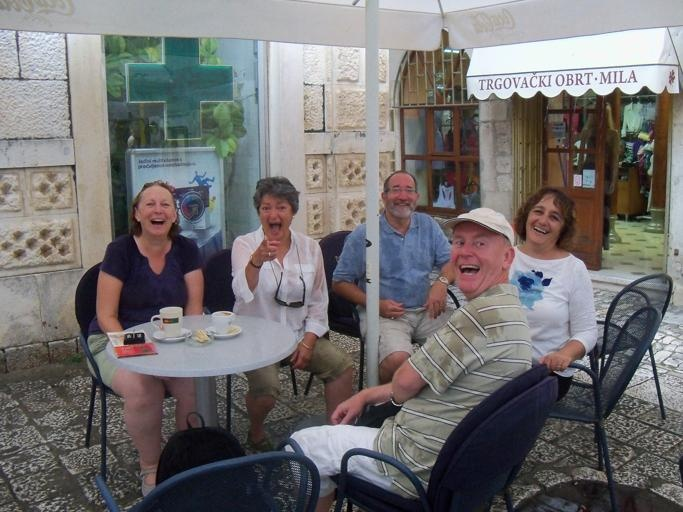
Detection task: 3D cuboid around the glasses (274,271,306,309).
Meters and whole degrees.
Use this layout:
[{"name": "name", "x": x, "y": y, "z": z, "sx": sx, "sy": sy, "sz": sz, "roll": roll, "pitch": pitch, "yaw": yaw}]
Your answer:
[{"name": "glasses", "x": -0.347, "y": 0.222, "z": 3.705, "sx": 0.193, "sy": 0.243, "sz": 0.057, "roll": 1, "pitch": -2, "yaw": -4}]

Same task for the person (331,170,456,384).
[{"name": "person", "x": 0.527, "y": 0.241, "z": 4.107, "sx": 0.942, "sy": 1.733, "sz": 0.889, "roll": -6, "pitch": 12, "yaw": -28}]

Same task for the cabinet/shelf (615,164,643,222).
[{"name": "cabinet/shelf", "x": 6.264, "y": -1.368, "z": 12.357, "sx": 0.521, "sy": 1.003, "sz": 0.598, "roll": -6, "pitch": 7, "yaw": -16}]

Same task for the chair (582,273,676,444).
[{"name": "chair", "x": 1.811, "y": 0.590, "z": 3.662, "sx": 0.566, "sy": 0.800, "sz": 0.590, "roll": -12, "pitch": 10, "yaw": -5}]

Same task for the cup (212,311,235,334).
[{"name": "cup", "x": -0.665, "y": 0.371, "z": 3.186, "sx": 0.113, "sy": 0.100, "sz": 0.095, "roll": -2, "pitch": 0, "yaw": 36}]

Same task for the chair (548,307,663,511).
[{"name": "chair", "x": 1.536, "y": 0.868, "z": 3.275, "sx": 0.494, "sy": 1.108, "sz": 0.846, "roll": 2, "pitch": 10, "yaw": 34}]

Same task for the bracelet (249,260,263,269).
[{"name": "bracelet", "x": -0.520, "y": 0.060, "z": 3.485, "sx": 0.058, "sy": 0.017, "sz": 0.059, "roll": 21, "pitch": -3, "yaw": -40}]

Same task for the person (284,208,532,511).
[{"name": "person", "x": 0.496, "y": 0.484, "z": 3.282, "sx": 1.358, "sy": 2.157, "sz": 0.862, "roll": 4, "pitch": -2, "yaw": 30}]

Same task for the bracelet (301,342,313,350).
[{"name": "bracelet", "x": -0.222, "y": 0.586, "z": 3.678, "sx": 0.050, "sy": 0.019, "sz": 0.045, "roll": 37, "pitch": 22, "yaw": 34}]

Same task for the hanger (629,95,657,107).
[{"name": "hanger", "x": 6.267, "y": -3.233, "z": 11.783, "sx": 0.028, "sy": 0.336, "sz": 0.544, "roll": -22, "pitch": 28, "yaw": -39}]
